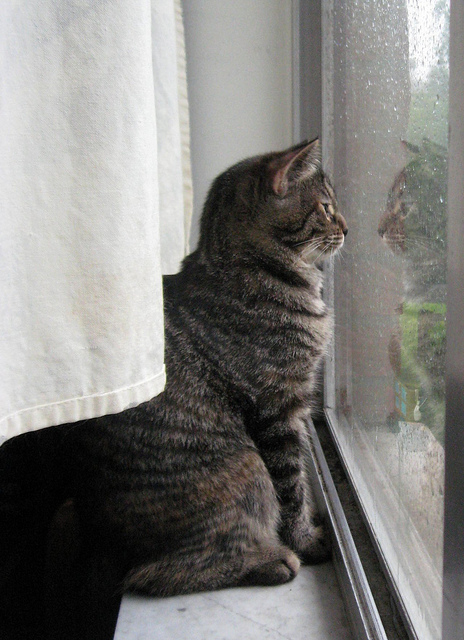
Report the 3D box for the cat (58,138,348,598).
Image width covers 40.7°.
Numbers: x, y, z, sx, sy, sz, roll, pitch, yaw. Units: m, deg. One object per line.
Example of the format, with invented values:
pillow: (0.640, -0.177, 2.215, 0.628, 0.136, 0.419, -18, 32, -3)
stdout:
cat: (-0.098, 0.086, 1.379, 0.585, 1.068, 0.447, -4, 1, -25)
